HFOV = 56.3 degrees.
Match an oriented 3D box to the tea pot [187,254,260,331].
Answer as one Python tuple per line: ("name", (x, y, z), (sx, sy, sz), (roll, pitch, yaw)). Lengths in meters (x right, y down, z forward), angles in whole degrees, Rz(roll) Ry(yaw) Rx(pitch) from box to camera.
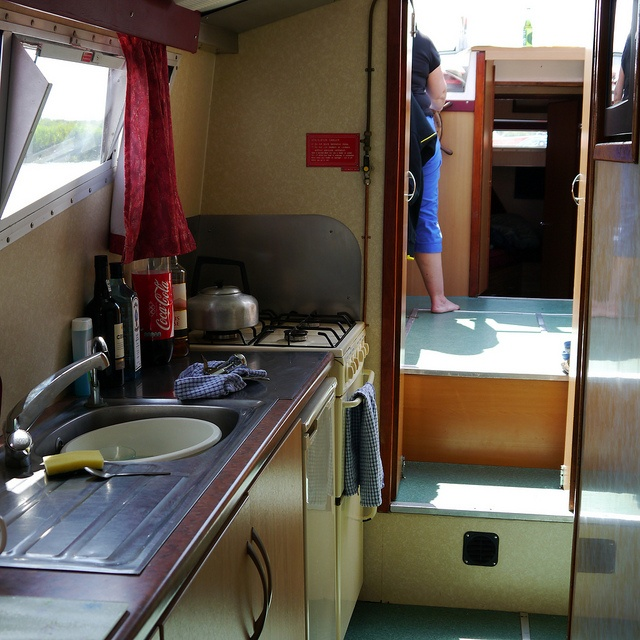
("tea pot", (-0.369, -0.092, 2.207), (0.244, 0.300, 0.257), (-2, 4, 0))

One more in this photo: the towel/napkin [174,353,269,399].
("towel/napkin", (-0.270, 0.149, 1.631), (0.201, 0.066, 0.307), (8, 12, 44))

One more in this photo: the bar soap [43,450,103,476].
("bar soap", (-0.446, 0.257, 1.077), (0.094, 0.028, 0.057), (-6, 10, -30))

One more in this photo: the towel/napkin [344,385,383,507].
("towel/napkin", (0.152, 0.469, 2.176), (0.164, 0.559, 0.483), (-1, -3, 7))

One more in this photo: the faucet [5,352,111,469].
("faucet", (-0.460, 0.146, 1.185), (0.082, 0.124, 0.315), (5, 25, 22))

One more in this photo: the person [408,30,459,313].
("person", (0.752, -0.836, 3.937), (0.284, 1.743, 1.246), (1, 8, 13))
